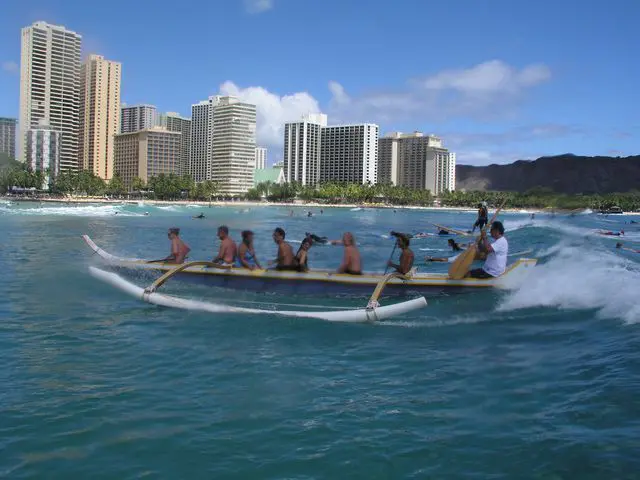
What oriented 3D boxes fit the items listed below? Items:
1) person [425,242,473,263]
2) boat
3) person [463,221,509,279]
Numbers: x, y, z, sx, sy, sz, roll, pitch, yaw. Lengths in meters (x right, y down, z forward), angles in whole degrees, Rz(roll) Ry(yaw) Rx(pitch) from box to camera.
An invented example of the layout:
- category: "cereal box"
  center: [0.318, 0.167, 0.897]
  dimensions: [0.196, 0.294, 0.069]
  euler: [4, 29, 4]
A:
- category: "person"
  center: [4.923, 0.488, 23.240]
  dimensions: [0.429, 0.513, 2.544]
  euler: [2, 12, 37]
- category: "boat"
  center: [-0.618, 1.069, 15.758]
  dimensions: [11.223, 1.061, 3.986]
  euler: [2, 13, 11]
- category: "person"
  center: [4.560, 0.315, 16.648]
  dimensions: [1.173, 1.646, 0.908]
  euler: [7, 2, 5]
